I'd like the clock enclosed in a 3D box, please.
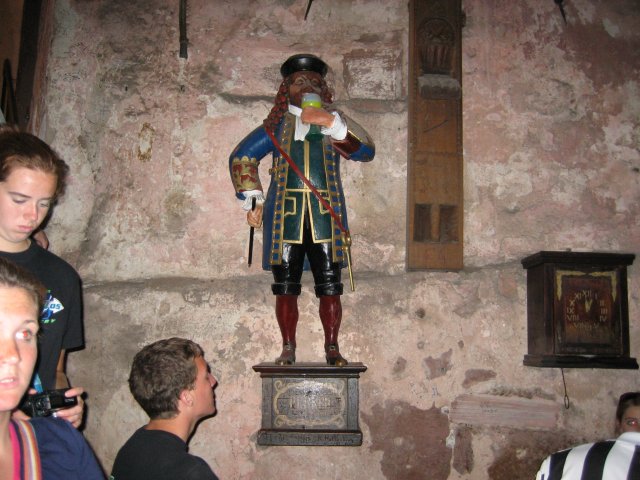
[{"bbox_3d":[1.571,0.432,5.250,0.404,0.599,0.060,-3,-40,17],"label":"clock"}]

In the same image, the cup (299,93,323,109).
[{"bbox_3d":[-0.042,-0.790,5.137,0.084,0.084,0.085,2,2,0],"label":"cup"}]

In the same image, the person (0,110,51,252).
[{"bbox_3d":[-1.501,-0.267,4.547,0.163,0.841,0.218,-9,2,-3],"label":"person"}]
